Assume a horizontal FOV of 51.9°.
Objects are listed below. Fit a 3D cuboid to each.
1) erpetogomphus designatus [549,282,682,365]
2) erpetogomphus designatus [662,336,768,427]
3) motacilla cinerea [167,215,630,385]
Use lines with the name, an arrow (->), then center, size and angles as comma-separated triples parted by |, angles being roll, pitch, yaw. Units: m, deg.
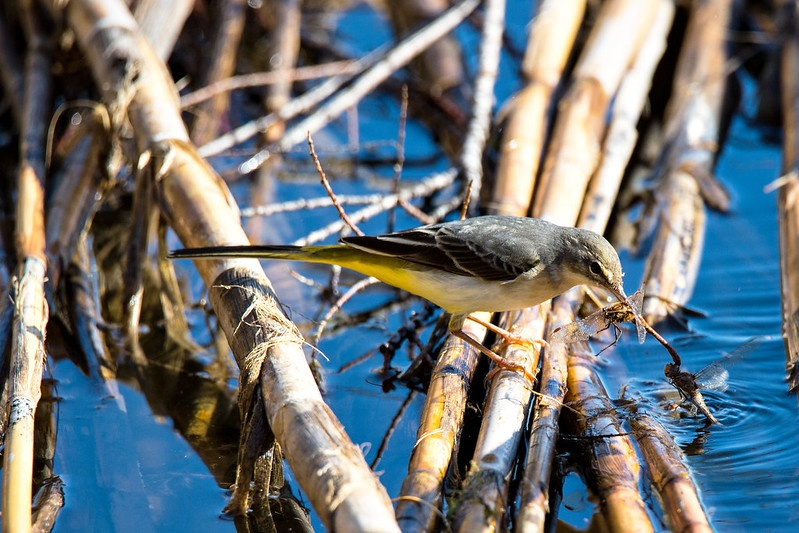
erpetogomphus designatus -> 1.757, 0.456, 6.715 | 1.138, 0.566, 0.383 | -16, -80, -16
erpetogomphus designatus -> 2.501, 0.915, 6.564 | 0.859, 0.779, 0.230 | 7, -39, -12
motacilla cinerea -> -0.540, 0.070, 7.379 | 4.935, 1.332, 1.489 | 6, -77, 4
